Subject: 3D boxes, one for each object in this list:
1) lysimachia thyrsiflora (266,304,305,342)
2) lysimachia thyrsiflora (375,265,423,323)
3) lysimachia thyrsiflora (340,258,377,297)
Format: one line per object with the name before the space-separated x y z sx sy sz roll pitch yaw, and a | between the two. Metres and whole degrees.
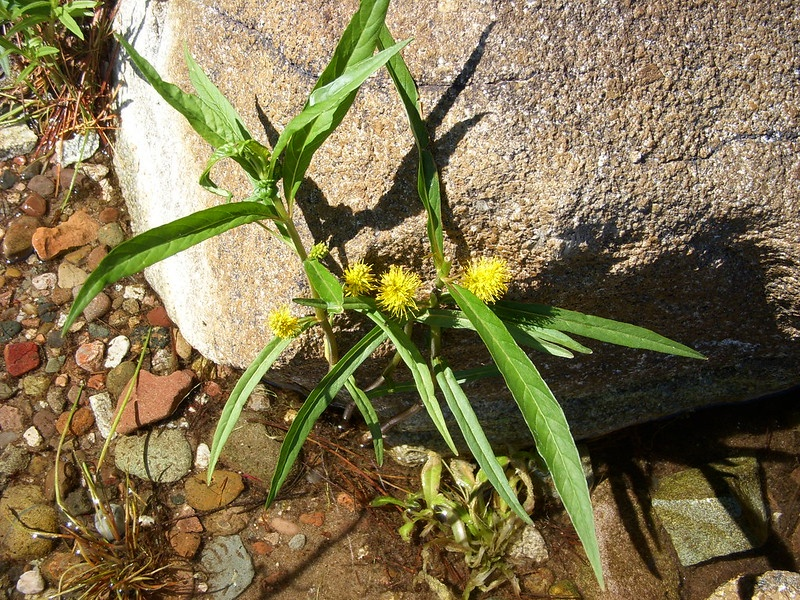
lysimachia thyrsiflora | -0.426 0.091 3.157 0.089 0.126 0.125 -26 52 -9
lysimachia thyrsiflora | 0.012 -0.024 3.094 0.177 0.191 0.109 12 11 41
lysimachia thyrsiflora | -0.136 -0.093 3.142 0.124 0.135 0.135 -17 75 -19
